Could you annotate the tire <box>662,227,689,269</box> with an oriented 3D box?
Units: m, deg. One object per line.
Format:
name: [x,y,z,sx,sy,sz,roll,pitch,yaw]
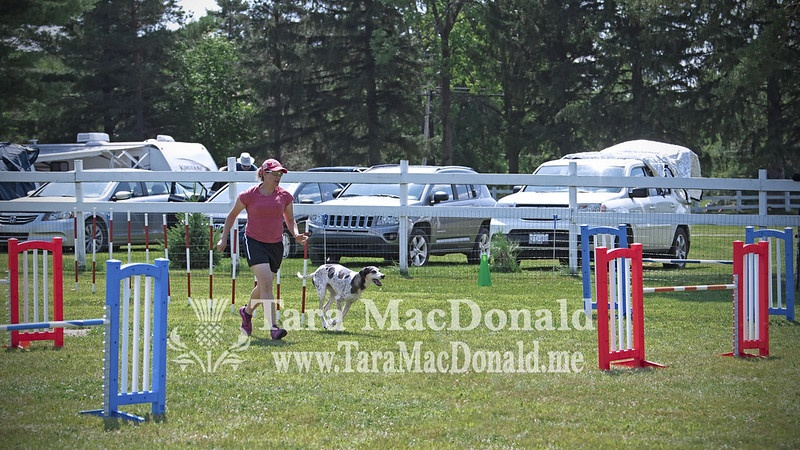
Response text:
tire: [11.205,1.049,57.112,0.573,1.770,1.794,-2,9,30]

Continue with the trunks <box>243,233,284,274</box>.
trunks: [-4.984,1.110,50.872,1.844,1.722,1.117,3,-5,-39]

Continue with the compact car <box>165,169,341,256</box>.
compact car: [-5.518,-0.359,57.802,3.215,2.606,5.868,0,-1,31]

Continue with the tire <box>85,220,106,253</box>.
tire: [-12.623,0.491,57.358,0.434,1.331,1.333,2,3,21]

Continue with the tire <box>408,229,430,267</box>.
tire: [0.668,0.953,56.339,1.411,1.403,0.542,-7,3,-44]

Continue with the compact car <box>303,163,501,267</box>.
compact car: [0.253,-0.493,57.130,3.913,3.016,6.646,-2,-4,42]

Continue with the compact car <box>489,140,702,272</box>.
compact car: [9.000,-1.027,58.060,8.167,4.211,4.949,5,-6,-43]

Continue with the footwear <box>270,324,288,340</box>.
footwear: [-4.434,3.903,50.191,0.675,0.461,0.333,-27,29,22]

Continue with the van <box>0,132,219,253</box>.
van: [-12.591,-1.641,60.930,5.297,3.280,7.306,1,0,33]

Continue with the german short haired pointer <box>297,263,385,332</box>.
german short haired pointer: [-2.643,2.489,51.434,4.415,2.542,0.975,15,3,38]
